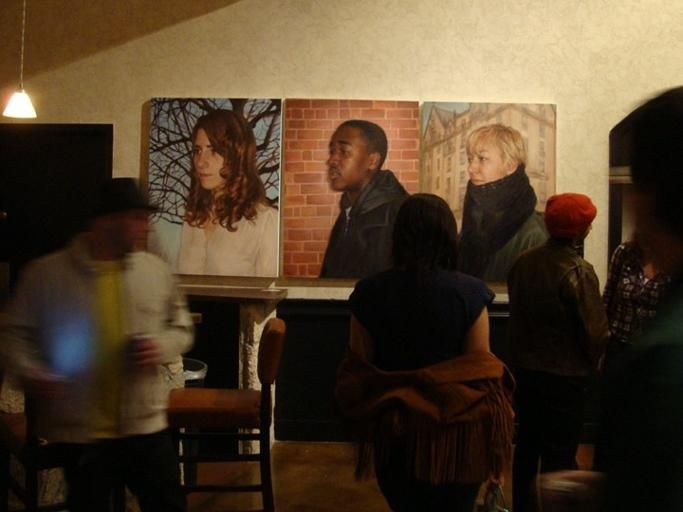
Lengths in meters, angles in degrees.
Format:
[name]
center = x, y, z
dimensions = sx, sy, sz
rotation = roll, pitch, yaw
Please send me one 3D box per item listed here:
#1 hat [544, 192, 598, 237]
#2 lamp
[hat]
center = 1.230, -0.263, 3.776
dimensions = 0.215, 0.163, 0.260
rotation = 5, 23, 20
[lamp]
center = -2.486, -1.519, 5.396
dimensions = 0.247, 0.855, 0.463
rotation = 1, -1, -26
